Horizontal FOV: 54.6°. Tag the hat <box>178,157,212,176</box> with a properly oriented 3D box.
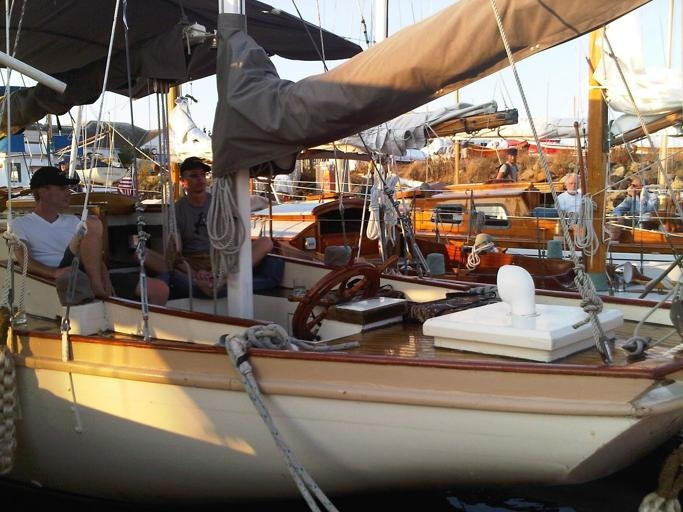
[{"bbox_3d":[-1.228,-0.737,5.416,0.157,0.086,0.216,-4,5,-35],"label":"hat"}]

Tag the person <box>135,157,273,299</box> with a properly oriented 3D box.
[{"bbox_3d":[-1.108,-0.254,5.255,1.156,1.087,0.843,-7,7,-25],"label":"person"}]

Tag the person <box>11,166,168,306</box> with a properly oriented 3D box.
[{"bbox_3d":[-1.692,-0.167,4.520,1.006,0.940,0.504,-3,6,12],"label":"person"}]

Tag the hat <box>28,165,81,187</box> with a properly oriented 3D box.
[{"bbox_3d":[-1.992,-0.545,4.618,0.281,0.141,0.174,-6,14,-11],"label":"hat"}]

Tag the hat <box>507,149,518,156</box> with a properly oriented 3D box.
[{"bbox_3d":[3.019,-1.860,11.701,0.221,0.119,0.315,0,6,12],"label":"hat"}]
